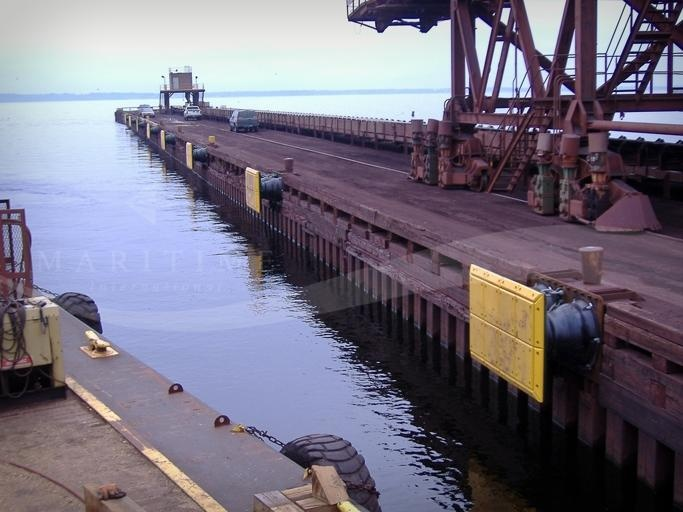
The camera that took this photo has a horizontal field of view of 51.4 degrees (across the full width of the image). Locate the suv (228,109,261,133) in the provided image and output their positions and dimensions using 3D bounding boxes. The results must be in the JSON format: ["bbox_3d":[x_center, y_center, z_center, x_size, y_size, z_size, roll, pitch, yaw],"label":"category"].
[{"bbox_3d":[-8.770,-12.078,63.855,2.288,1.890,3.172,-10,19,-29],"label":"suv"}]
